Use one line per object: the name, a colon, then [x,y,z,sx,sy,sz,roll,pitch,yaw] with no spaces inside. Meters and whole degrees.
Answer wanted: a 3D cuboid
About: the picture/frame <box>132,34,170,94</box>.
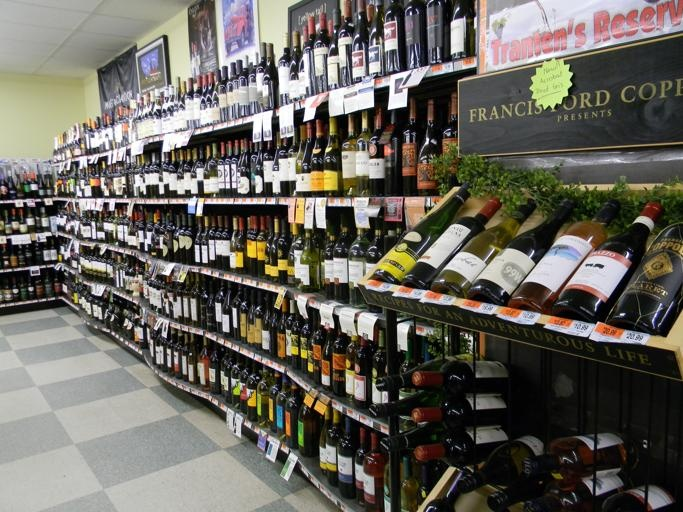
picture/frame: [-2.122,-2.196,5.981,0.108,0.771,1.035,-6,9,-34]
